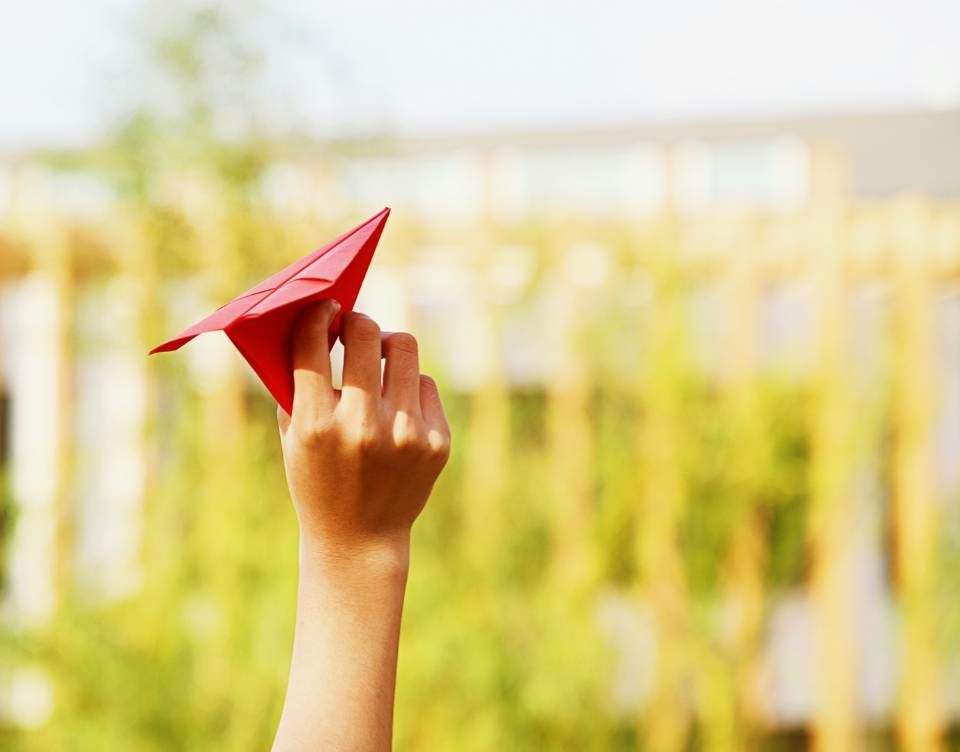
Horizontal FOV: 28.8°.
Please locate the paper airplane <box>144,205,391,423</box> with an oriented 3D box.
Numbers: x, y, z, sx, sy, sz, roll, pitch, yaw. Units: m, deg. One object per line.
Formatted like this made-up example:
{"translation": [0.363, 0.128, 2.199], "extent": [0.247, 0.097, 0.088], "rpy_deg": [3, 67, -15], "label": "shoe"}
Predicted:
{"translation": [-0.191, -0.112, 2.026], "extent": [0.236, 0.090, 0.234], "rpy_deg": [-8, 12, 18], "label": "paper airplane"}
